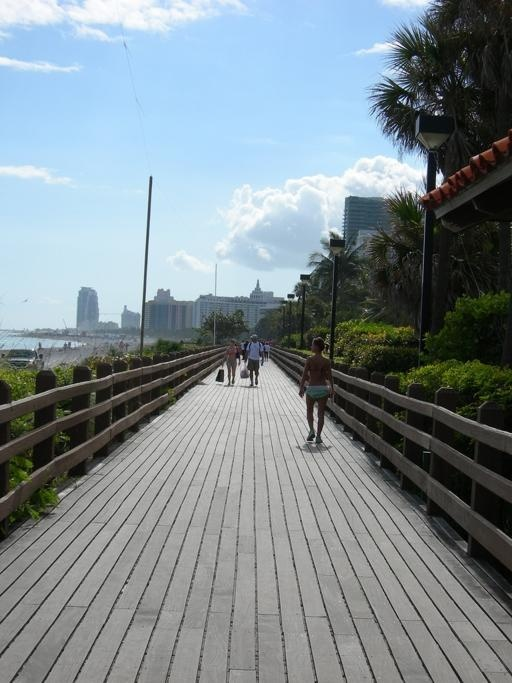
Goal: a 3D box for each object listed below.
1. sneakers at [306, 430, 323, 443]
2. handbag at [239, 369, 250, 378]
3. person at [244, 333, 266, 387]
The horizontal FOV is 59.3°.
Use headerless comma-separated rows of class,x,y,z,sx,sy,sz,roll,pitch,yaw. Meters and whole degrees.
sneakers,1.040,1.678,7.895,0.238,0.196,0.416,5,-8,-18
handbag,-0.505,1.500,21.583,0.449,0.572,0.215,-10,-9,27
person,-0.040,0.761,20.397,0.743,2.472,0.589,2,21,2
